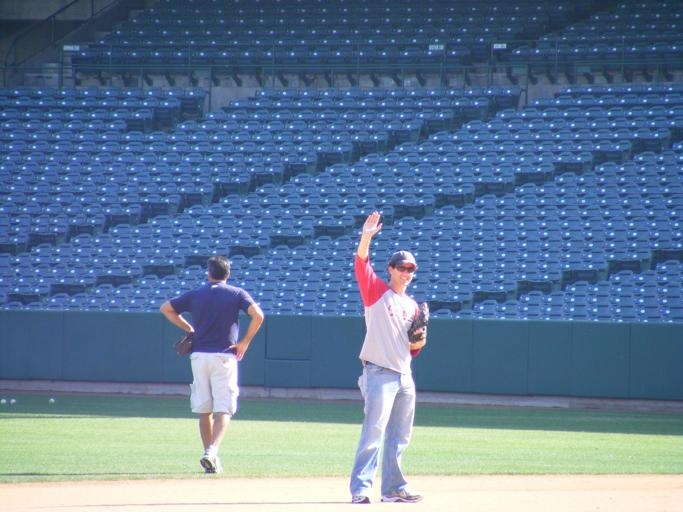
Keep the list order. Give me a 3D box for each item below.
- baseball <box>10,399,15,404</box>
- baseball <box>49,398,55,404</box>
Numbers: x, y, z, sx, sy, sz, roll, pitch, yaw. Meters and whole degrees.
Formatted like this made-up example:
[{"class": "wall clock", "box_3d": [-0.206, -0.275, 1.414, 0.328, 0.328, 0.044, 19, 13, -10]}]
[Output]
[{"class": "baseball", "box_3d": [-8.299, 3.697, 46.750, 0.110, 0.091, 0.105, 6, 5, -2]}, {"class": "baseball", "box_3d": [-7.349, 3.706, 47.060, 0.106, 0.054, 0.123, 3, 5, 6]}]
